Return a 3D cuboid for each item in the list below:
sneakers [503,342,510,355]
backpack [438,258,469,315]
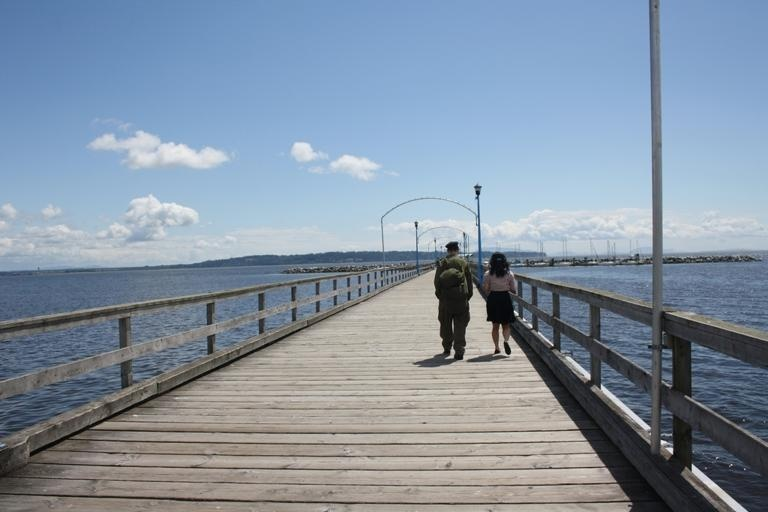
[{"bbox_3d":[1.959,1.449,9.212,0.085,0.204,0.087,-14,5,-9],"label":"sneakers"},{"bbox_3d":[1.100,0.429,9.357,0.584,0.851,0.409,-1,8,4],"label":"backpack"}]
